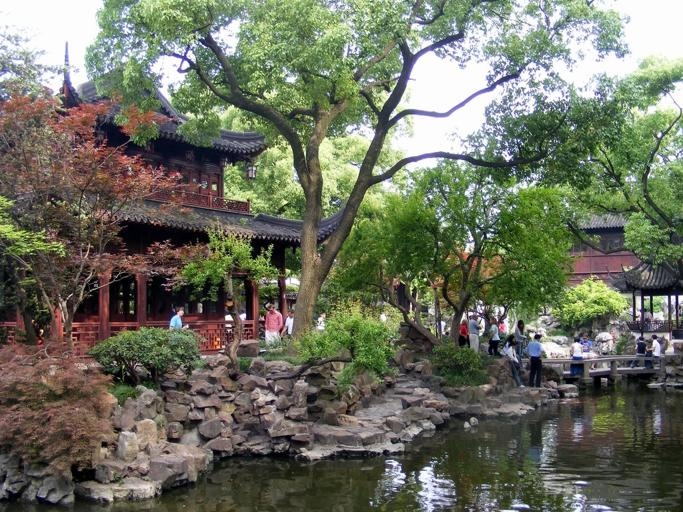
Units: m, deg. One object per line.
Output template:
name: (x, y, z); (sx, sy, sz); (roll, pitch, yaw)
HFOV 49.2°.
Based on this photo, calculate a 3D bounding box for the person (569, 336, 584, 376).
person: (10.352, 4.417, 32.728); (0.556, 1.523, 2.824); (1, 3, 18)

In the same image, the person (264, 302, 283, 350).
person: (-2.391, 2.366, 26.041); (0.540, 1.369, 1.618); (0, 3, -6)

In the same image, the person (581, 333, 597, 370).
person: (11.858, 4.640, 35.692); (0.600, 1.847, 0.598); (-20, -21, 25)

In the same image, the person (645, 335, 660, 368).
person: (14.575, 4.515, 34.808); (0.655, 1.307, 1.549); (1, 3, 23)

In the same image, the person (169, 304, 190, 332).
person: (-5.397, 2.094, 24.687); (0.541, 1.095, 0.676); (0, 4, -11)
